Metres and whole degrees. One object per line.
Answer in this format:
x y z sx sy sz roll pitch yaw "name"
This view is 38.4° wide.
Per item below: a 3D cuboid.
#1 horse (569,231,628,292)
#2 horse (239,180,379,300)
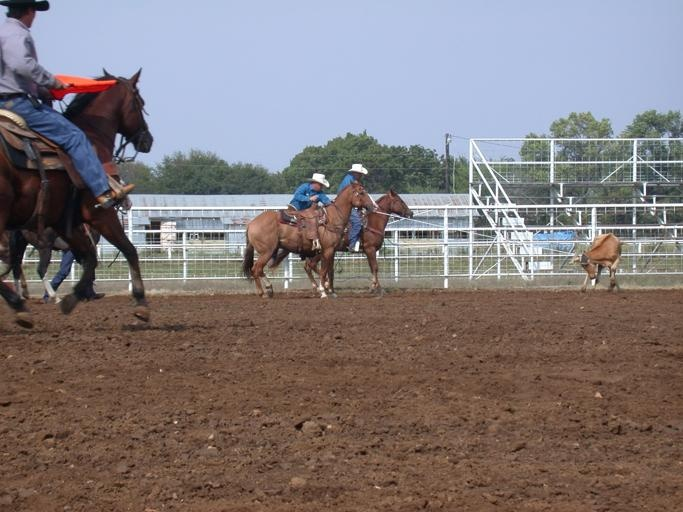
5.277 0.141 20.193 0.928 1.201 1.440 0 4 12 "horse"
-0.639 -0.220 19.905 3.854 3.077 1.297 1 -8 -14 "horse"
